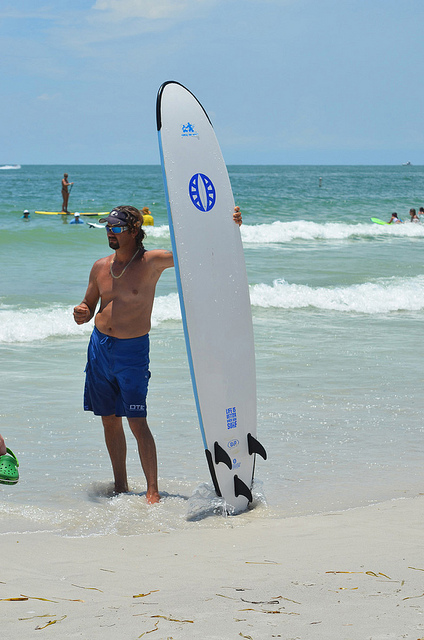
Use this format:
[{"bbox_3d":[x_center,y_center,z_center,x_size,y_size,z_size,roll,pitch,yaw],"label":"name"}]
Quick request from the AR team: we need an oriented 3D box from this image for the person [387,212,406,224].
[{"bbox_3d":[4.910,-2.688,24.149,0.402,0.328,1.153,0,4,12],"label":"person"}]

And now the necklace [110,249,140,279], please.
[{"bbox_3d":[-0.451,-0.281,4.707,0.025,0.169,0.086,21,11,-47],"label":"necklace"}]

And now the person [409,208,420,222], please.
[{"bbox_3d":[5.551,-2.855,25.025,0.251,0.370,1.084,0,4,13],"label":"person"}]

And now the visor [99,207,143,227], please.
[{"bbox_3d":[-0.476,-0.521,4.671,0.103,0.053,0.165,17,2,41],"label":"visor"}]

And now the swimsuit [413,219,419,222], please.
[{"bbox_3d":[5.519,-2.678,24.672,0.190,0.071,0.105,-3,5,-28],"label":"swimsuit"}]

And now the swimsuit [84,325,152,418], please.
[{"bbox_3d":[-0.518,0.268,4.797,0.398,0.501,0.191,2,6,35],"label":"swimsuit"}]
